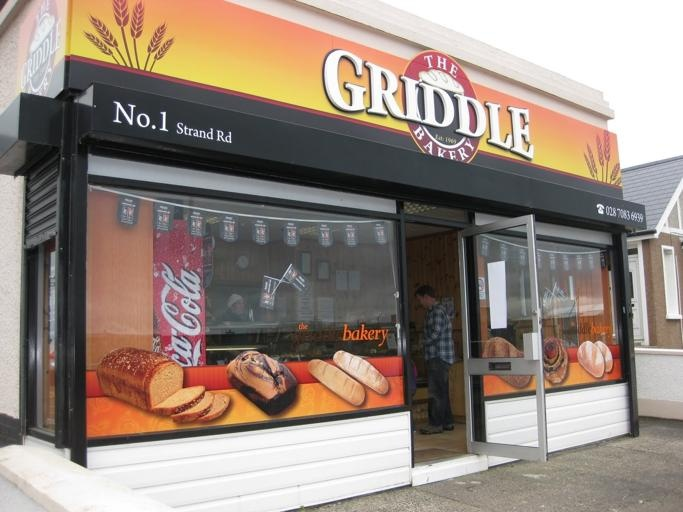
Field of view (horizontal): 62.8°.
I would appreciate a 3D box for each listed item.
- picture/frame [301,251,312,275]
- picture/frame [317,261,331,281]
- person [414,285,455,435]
[{"bbox_3d":[-0.334,0.069,5.267,0.115,0.208,0.022,2,-7,-40],"label":"picture/frame"},{"bbox_3d":[-0.180,0.146,5.344,0.178,0.216,0.029,1,-2,-45],"label":"picture/frame"},{"bbox_3d":[1.275,1.391,7.625,0.489,1.992,0.452,-3,-6,7],"label":"person"}]
